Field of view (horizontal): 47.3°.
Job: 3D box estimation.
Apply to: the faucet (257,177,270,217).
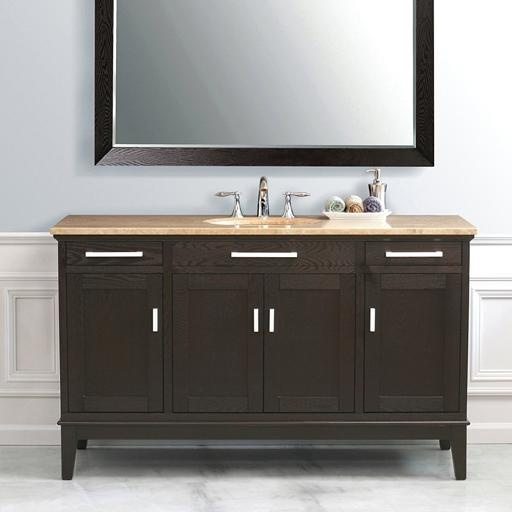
[{"bbox_3d":[0.031,-0.270,2.619,0.046,0.179,0.098,0,5,-1],"label":"faucet"}]
